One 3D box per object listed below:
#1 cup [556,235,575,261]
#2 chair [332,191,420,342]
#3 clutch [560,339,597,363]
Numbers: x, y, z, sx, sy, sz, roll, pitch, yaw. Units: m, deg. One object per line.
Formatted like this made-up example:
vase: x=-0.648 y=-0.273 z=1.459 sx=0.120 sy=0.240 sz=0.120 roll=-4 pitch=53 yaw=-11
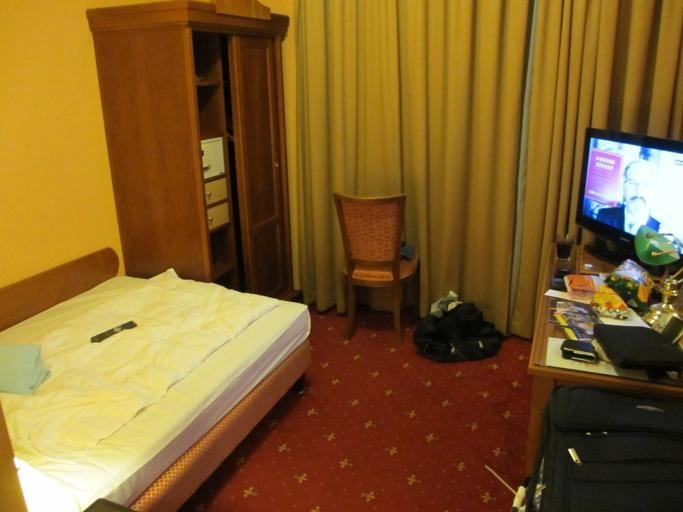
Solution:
cup: x=1.175 y=-0.035 z=2.900 sx=0.108 sy=0.123 sz=0.104 roll=-1 pitch=9 yaw=0
chair: x=0.261 y=0.039 z=3.893 sx=0.582 sy=1.081 sz=0.538 roll=2 pitch=27 yaw=8
clutch: x=0.955 y=0.379 z=2.206 sx=0.091 sy=0.032 sz=0.093 roll=4 pitch=12 yaw=16
